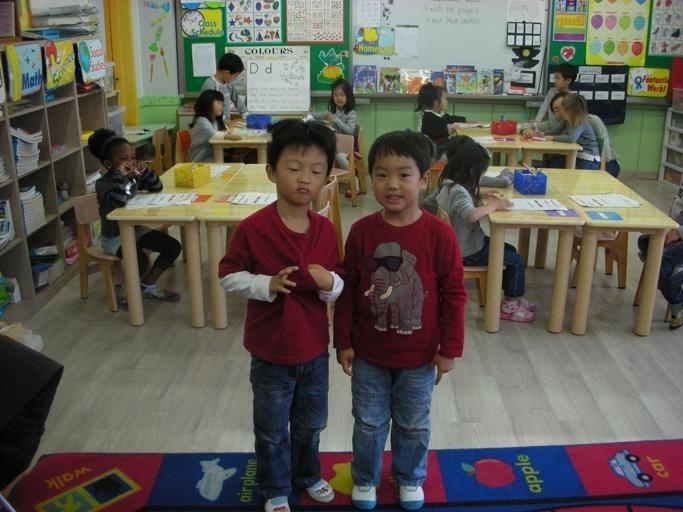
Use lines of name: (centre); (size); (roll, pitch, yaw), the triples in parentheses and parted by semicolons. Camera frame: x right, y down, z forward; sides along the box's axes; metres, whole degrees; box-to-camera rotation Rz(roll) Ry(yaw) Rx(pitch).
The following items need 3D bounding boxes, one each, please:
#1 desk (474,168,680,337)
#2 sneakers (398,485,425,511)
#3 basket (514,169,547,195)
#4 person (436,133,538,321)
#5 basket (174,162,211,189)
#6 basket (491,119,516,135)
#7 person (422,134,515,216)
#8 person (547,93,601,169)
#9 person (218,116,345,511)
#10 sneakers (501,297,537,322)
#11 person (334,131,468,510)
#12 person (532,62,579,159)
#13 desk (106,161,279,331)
desk: (1.489, 0.243, 3.353); (0.961, 0.683, 1.454); (5, 28, 8)
sneakers: (0.259, 0.858, 1.708); (0.048, 0.060, 0.136); (0, 0, 1)
basket: (1.328, -0.508, 3.362); (0.194, 0.129, 0.199); (1, 21, 3)
person: (0.969, -0.149, 3.153); (0.648, 1.195, 0.478); (-3, 16, 12)
basket: (-1.083, -0.568, 3.489); (0.217, 0.147, 0.228); (5, 16, 14)
basket: (1.778, -1.378, 5.117); (0.305, 0.145, 0.212); (1, 21, 4)
person: (0.897, -0.642, 3.360); (0.595, 0.762, 0.551); (-1, 37, 6)
person: (2.360, -1.231, 4.801); (0.519, 0.824, 0.540); (-18, 18, -37)
person: (-0.173, 0.268, 1.606); (0.412, 1.375, 0.355); (-8, 22, -19)
sneakers: (1.206, 0.376, 3.246); (0.166, 0.105, 0.207); (-3, 17, 7)
person: (0.187, 0.257, 1.617); (0.424, 1.285, 0.350); (-6, 21, -12)
person: (2.674, -1.799, 5.788); (0.285, 0.963, 0.386); (-3, 17, -26)
desk: (-0.893, -0.161, 3.247); (1.009, 0.693, 1.334); (-1, 26, -2)
